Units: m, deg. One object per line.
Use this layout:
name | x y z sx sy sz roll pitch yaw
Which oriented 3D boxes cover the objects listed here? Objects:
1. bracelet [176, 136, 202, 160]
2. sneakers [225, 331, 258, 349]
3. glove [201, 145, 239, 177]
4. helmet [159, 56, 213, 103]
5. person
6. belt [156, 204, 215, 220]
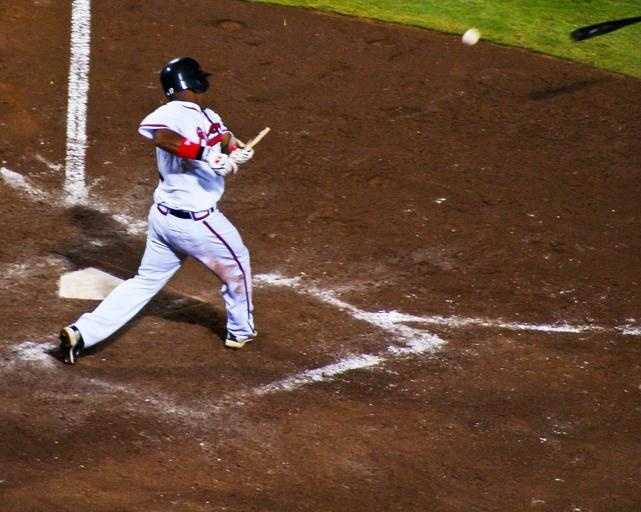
bracelet | -0.866 -0.737 6.282 0.240 0.091 0.169 9 4 -3
sneakers | -0.643 0.636 7.083 0.120 0.079 0.284 17 23 38
glove | -0.697 -0.663 6.417 0.289 0.101 0.129 26 41 -24
helmet | -0.972 -1.278 6.654 0.329 0.302 0.297 5 25 -10
person | -0.957 -0.300 6.676 1.349 2.282 1.176 11 28 -4
belt | -0.989 -0.308 6.596 0.226 0.035 0.201 10 5 38
